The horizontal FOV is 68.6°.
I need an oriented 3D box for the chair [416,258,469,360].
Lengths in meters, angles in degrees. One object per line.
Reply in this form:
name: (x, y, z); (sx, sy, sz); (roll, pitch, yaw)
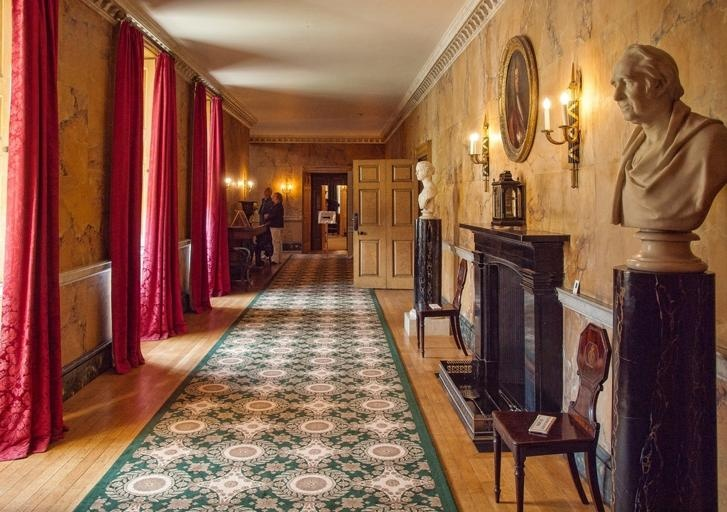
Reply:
chair: (0.969, 0.608, 6.760); (0.636, 1.106, 0.593); (-1, 4, -8)

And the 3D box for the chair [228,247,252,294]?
chair: (-2.479, 0.267, 10.743); (0.607, 0.928, 0.786); (-1, 3, -1)

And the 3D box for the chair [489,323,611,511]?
chair: (1.270, 1.114, 3.622); (0.685, 1.246, 0.507); (-1, 8, -4)
